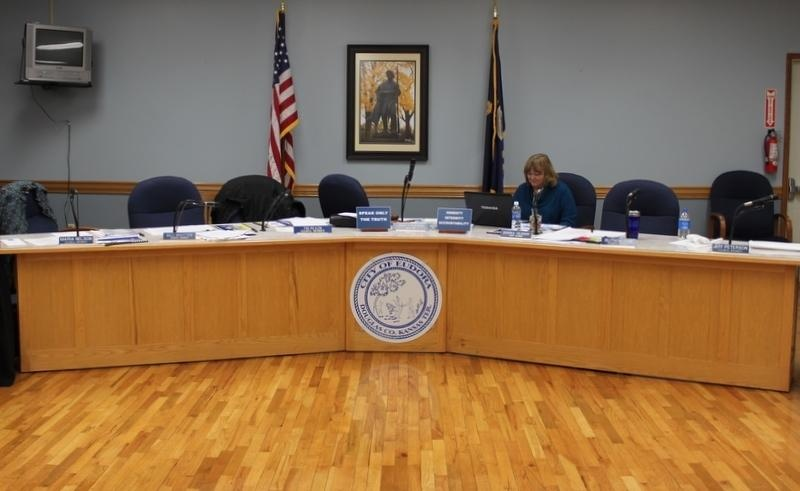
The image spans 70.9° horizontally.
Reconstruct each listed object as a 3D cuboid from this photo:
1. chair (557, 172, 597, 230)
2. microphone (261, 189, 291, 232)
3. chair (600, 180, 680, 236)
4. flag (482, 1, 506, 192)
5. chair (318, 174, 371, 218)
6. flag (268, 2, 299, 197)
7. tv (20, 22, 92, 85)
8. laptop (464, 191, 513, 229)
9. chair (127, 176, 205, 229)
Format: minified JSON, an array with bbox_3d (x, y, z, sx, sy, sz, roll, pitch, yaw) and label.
[{"bbox_3d":[1.871,-0.491,6.027,0.448,0.827,0.538,1,6,9],"label":"chair"},{"bbox_3d":[-1.220,-0.336,5.411,0.156,0.117,0.424,-18,-8,-25],"label":"microphone"},{"bbox_3d":[2.345,-0.403,5.408,0.569,0.679,0.779,4,-1,7],"label":"chair"},{"bbox_3d":[1.152,-1.792,6.800,0.272,2.259,0.467,2,12,9],"label":"flag"},{"bbox_3d":[-0.590,-0.499,5.858,0.548,0.451,0.229,10,15,40],"label":"chair"},{"bbox_3d":[-1.457,-1.782,6.817,0.395,2.236,0.510,-2,12,-11],"label":"flag"},{"bbox_3d":[-3.942,-2.206,6.647,0.757,0.685,0.546,2,4,-7],"label":"tv"},{"bbox_3d":[0.869,-0.367,5.241,0.470,0.323,0.347,8,24,32],"label":"laptop"},{"bbox_3d":[-2.338,-0.395,5.717,0.583,0.840,0.714,-3,3,-29],"label":"chair"}]
